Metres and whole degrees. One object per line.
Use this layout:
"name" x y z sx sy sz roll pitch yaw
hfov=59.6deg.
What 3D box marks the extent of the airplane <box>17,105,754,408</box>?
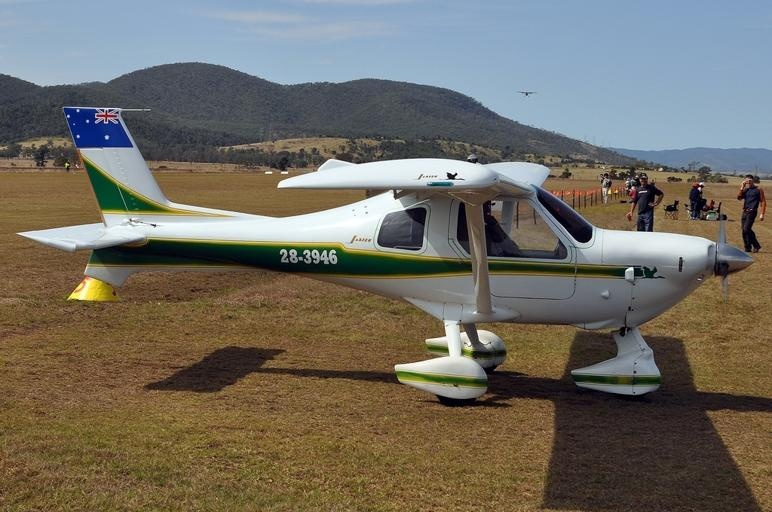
"airplane" 0.440 0.000 13.096 13.102 2.873 9.875 3 -1 12
